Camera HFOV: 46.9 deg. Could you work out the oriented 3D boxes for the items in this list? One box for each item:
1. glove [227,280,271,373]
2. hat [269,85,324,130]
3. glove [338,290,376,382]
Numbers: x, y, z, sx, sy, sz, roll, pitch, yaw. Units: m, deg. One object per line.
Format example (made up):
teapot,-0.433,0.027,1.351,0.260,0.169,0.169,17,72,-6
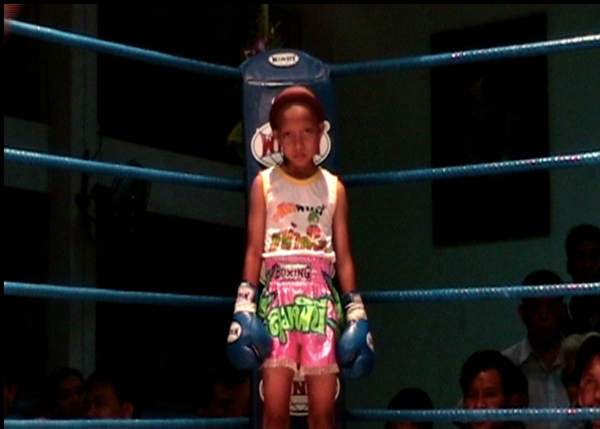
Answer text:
glove,-0.185,0.382,2.404,0.185,0.093,0.258,18,-72,36
hat,-0.012,-0.419,2.599,0.150,0.073,0.190,2,-78,1
glove,0.197,0.423,2.486,0.127,0.314,0.144,0,-39,3
